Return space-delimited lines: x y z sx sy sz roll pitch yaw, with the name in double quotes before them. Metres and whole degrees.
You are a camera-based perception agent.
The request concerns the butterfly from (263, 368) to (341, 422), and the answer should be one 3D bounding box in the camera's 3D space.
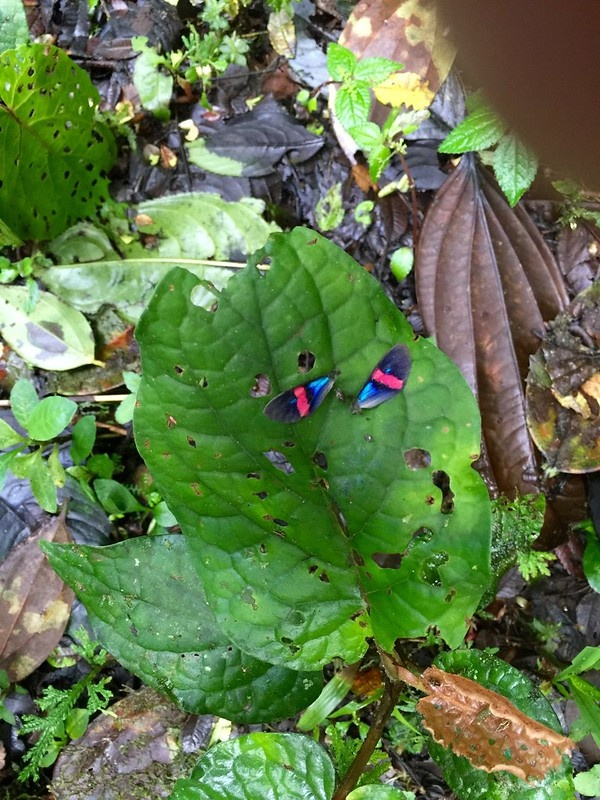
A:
"butterfly" 0.010 -0.013 1.618 0.182 0.091 0.048 -33 44 -32
